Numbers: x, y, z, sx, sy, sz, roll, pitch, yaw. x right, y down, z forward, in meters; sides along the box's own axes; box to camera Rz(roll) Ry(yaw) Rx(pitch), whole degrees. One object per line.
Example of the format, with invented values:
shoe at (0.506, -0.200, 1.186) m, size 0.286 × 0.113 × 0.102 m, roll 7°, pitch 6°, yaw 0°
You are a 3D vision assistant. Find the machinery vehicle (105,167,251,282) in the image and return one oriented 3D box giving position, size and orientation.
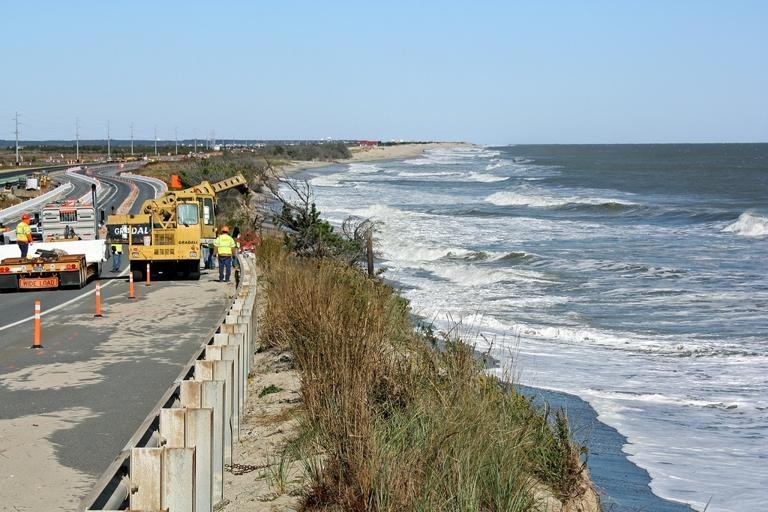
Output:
machinery vehicle at (-7.675, -1.009, 27.943) m, size 3.472 × 2.250 × 5.064 m, roll 0°, pitch 0°, yaw 10°
